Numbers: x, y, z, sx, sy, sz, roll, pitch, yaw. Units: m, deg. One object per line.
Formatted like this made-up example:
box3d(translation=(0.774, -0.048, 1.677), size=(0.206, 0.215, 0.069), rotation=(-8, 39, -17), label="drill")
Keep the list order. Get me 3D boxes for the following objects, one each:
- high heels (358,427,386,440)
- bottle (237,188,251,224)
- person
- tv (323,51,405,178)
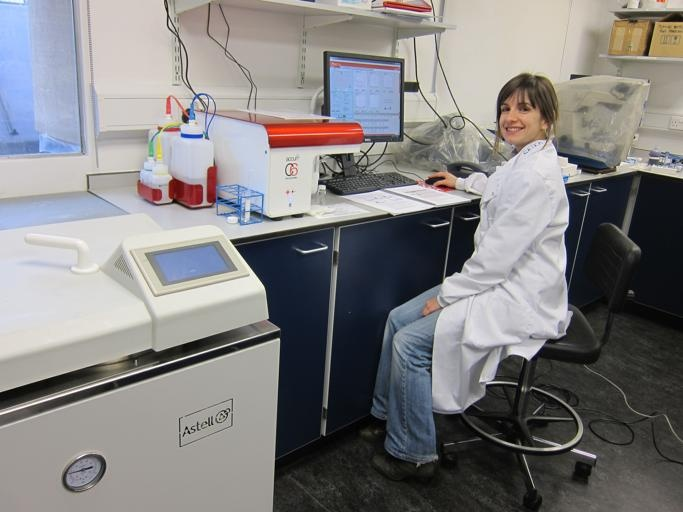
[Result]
box3d(translation=(0.143, 0.798, 2.254), size=(0.089, 0.041, 0.050), rotation=(4, 27, -11), label="high heels")
box3d(translation=(-0.345, -0.177, 1.792), size=(0.047, 0.092, 0.138), rotation=(-3, 24, -9), label="bottle")
box3d(translation=(0.516, 0.123, 1.979), size=(0.823, 1.547, 0.499), rotation=(-8, 24, -18), label="person")
box3d(translation=(0.112, -0.751, 2.445), size=(0.546, 0.421, 0.061), rotation=(-14, 20, -41), label="tv")
